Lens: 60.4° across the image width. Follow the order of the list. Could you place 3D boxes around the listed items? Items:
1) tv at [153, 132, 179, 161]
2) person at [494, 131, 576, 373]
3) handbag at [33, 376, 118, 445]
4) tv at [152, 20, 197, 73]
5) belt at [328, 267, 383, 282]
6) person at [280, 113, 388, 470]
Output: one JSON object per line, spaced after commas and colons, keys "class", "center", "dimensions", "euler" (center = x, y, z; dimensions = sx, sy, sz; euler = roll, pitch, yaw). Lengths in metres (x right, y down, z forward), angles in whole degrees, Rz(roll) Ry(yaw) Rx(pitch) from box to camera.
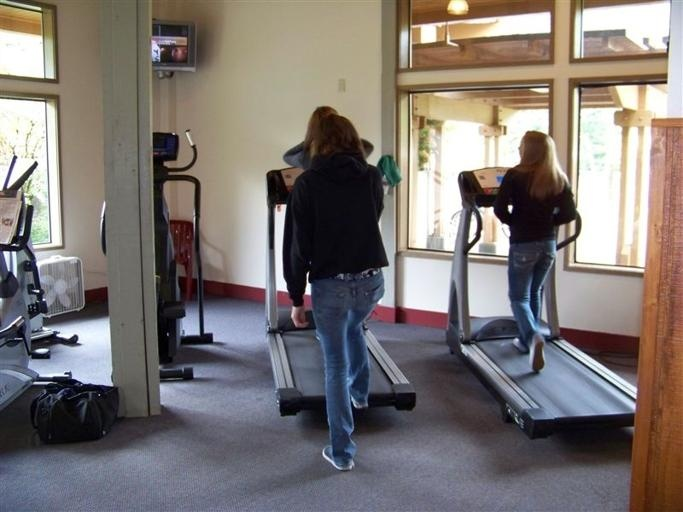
{"class": "tv", "center": [-1.492, -0.907, 5.098], "dimensions": [0.308, 0.286, 0.196], "euler": [-1, 3, -12]}
{"class": "person", "center": [1.551, -0.076, 4.723], "dimensions": [0.586, 1.796, 0.926], "euler": [3, 12, 23]}
{"class": "handbag", "center": [-1.827, 1.067, 4.051], "dimensions": [0.418, 0.307, 0.394], "euler": [-2, 3, -1]}
{"class": "tv", "center": [-2.034, -2.509, 7.119], "dimensions": [0.595, 0.609, 0.348], "euler": [1, 1, 5]}
{"class": "belt", "center": [0.108, 0.101, 3.421], "dimensions": [0.339, 0.060, 0.072], "euler": [-9, 16, -32]}
{"class": "person", "center": [-0.116, 0.264, 3.664], "dimensions": [0.596, 2.270, 0.683], "euler": [2, 13, -11]}
